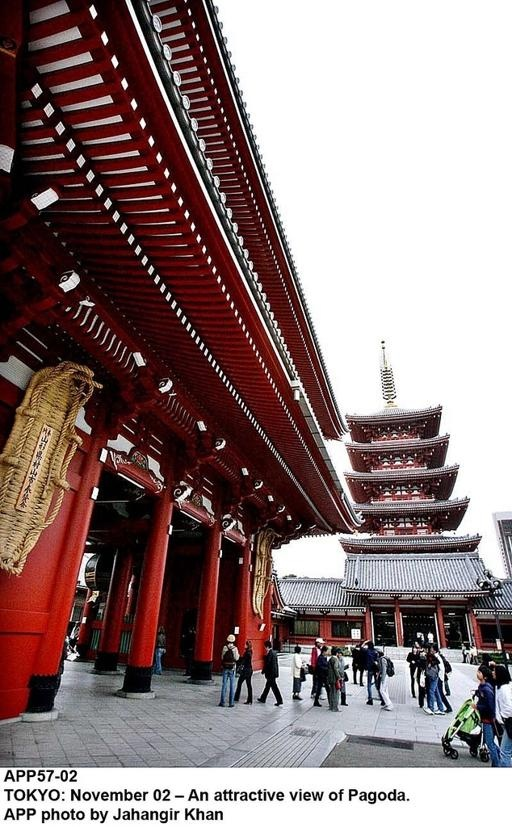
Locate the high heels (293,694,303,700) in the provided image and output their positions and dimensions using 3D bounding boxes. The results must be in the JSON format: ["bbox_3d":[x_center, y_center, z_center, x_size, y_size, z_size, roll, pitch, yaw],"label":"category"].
[{"bbox_3d":[0.852,5.970,9.187,0.240,0.145,0.072,-7,-44,11],"label":"high heels"}]

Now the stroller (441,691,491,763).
[{"bbox_3d":[2.547,3.838,5.433,0.481,0.655,0.923,-5,-29,20],"label":"stroller"}]
